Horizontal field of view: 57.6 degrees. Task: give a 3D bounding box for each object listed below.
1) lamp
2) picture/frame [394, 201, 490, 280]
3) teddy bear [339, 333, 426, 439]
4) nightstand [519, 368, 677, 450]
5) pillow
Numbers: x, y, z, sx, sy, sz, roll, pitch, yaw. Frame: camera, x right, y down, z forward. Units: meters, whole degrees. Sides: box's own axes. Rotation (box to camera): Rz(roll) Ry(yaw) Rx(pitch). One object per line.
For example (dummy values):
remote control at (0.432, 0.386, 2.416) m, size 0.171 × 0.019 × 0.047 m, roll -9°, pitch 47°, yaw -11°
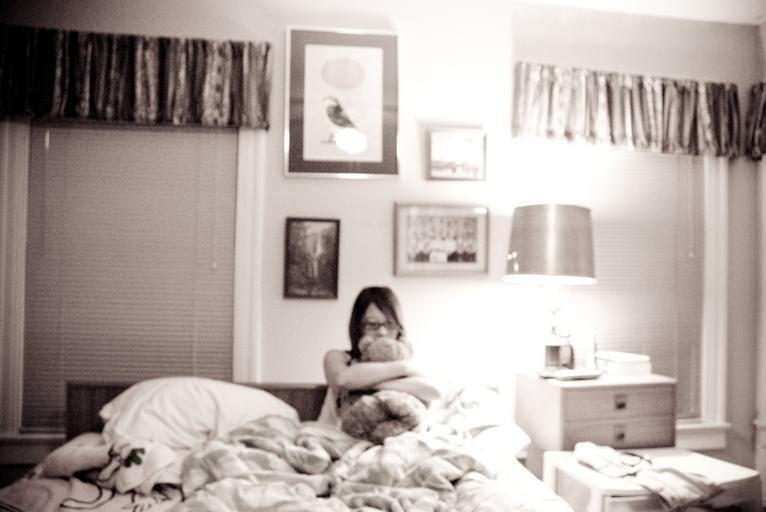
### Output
lamp at (1.126, 0.221, 4.624) m, size 0.637 × 1.140 × 0.458 m, roll 1°, pitch 0°, yaw 3°
picture/frame at (0.371, -0.105, 4.707) m, size 0.566 × 0.378 × 0.026 m, roll 0°, pitch 0°, yaw -2°
teddy bear at (-0.036, 0.852, 4.486) m, size 0.462 × 0.577 × 0.236 m, roll -4°, pitch -19°, yaw -3°
nightstand at (1.382, 0.867, 4.542) m, size 0.732 × 0.640 × 0.537 m, roll 1°, pitch -7°, yaw -10°
pillow at (-1.161, 0.933, 4.238) m, size 0.754 × 0.209 × 0.536 m, roll 8°, pitch -5°, yaw -29°
